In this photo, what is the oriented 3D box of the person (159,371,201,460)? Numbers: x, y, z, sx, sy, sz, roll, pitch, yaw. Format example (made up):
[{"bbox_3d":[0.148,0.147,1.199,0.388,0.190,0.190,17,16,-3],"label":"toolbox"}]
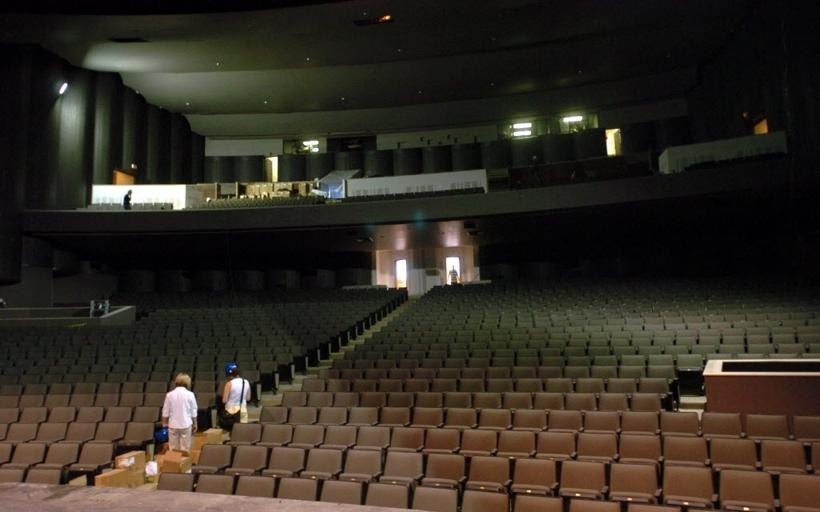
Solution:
[{"bbox_3d":[-4.841,3.247,12.922,0.685,1.408,0.405,-5,3,-13],"label":"person"}]

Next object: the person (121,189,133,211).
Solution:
[{"bbox_3d":[-11.115,-2.182,24.233,0.334,0.728,1.184,-5,3,-23],"label":"person"}]

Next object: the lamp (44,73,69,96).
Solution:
[{"bbox_3d":[-13.952,-6.718,24.246,0.196,0.815,0.853,11,5,35],"label":"lamp"}]

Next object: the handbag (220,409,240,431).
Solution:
[{"bbox_3d":[-3.926,3.577,13.567,0.453,0.357,0.436,4,-7,-39],"label":"handbag"}]
